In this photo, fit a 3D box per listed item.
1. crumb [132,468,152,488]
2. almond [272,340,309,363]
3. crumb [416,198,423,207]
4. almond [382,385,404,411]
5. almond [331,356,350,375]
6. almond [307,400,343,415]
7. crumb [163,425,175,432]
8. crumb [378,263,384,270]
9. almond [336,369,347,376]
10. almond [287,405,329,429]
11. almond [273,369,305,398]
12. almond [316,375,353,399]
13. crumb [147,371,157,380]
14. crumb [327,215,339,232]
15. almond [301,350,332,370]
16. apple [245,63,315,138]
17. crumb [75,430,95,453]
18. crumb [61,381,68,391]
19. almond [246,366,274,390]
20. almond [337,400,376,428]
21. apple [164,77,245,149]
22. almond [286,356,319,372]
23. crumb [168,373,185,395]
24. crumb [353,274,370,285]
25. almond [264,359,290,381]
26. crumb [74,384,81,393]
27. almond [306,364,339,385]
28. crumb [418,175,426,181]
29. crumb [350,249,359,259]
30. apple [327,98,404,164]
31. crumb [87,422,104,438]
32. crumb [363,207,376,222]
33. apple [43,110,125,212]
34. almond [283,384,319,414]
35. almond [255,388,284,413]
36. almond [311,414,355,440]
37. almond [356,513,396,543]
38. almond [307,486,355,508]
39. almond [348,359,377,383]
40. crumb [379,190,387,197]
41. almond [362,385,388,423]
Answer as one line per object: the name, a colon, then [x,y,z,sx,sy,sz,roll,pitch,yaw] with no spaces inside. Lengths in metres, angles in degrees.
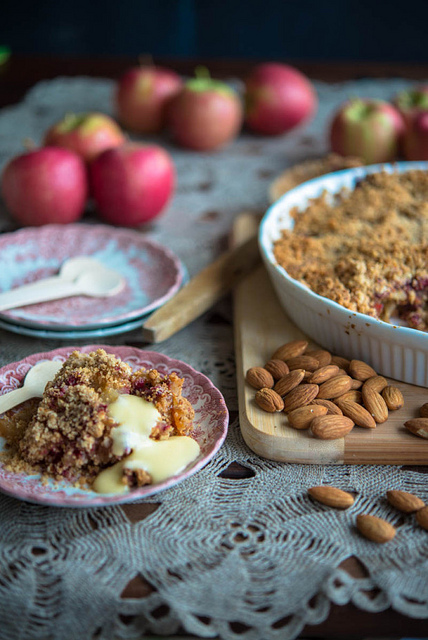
crumb: [-0.069,0.142,0.533,0.019,0.016,0.006,-2,21,-1]
almond: [0.097,0.038,0.749,0.042,0.013,0.022,-26,33,-20]
crumb: [0.308,-0.176,0.877,0.013,0.003,0.011,1,48,4]
almond: [0.204,0.088,0.675,0.021,0.016,0.028,-2,29,-3]
almond: [0.158,0.056,0.722,0.014,0.006,0.023,-1,20,-2]
almond: [0.128,0.096,0.656,0.027,0.008,0.015,27,52,23]
crumb: [-0.045,0.107,0.582,0.007,0.002,0.006,8,43,-44]
crumb: [0.230,-0.074,0.810,0.009,0.006,0.008,-24,37,-30]
almond: [0.156,0.063,0.709,0.008,0.004,0.008,-28,45,-30]
almond: [0.101,0.103,0.649,0.045,0.019,0.020,-11,25,-11]
almond: [0.088,0.072,0.683,0.041,0.011,0.022,-37,56,-4]
almond: [0.139,0.077,0.675,0.037,0.012,0.022,-28,34,-29]
crumb: [-0.064,0.057,0.615,0.007,0.002,0.008,5,40,4]
crumb: [0.174,-0.141,0.863,0.021,0.006,0.024,-1,48,5]
almond: [0.128,0.048,0.727,0.021,0.007,0.026,-18,20,-26]
apple: [0.121,-0.435,1.161,0.144,0.152,0.147,1,0,7]
crumb: [-0.120,0.113,0.553,0.006,0.020,0.019,7,65,50]
crumb: [-0.151,0.066,0.595,0.007,0.002,0.006,20,37,-4]
almond: [0.055,0.067,0.700,0.022,0.009,0.030,-11,24,-14]
almond: [0.158,0.103,0.651,0.043,0.021,0.015,31,28,5]
apple: [-0.015,-0.377,1.115,0.138,0.114,0.139,23,39,30]
almond: [0.108,0.053,0.712,0.019,0.010,0.031,16,-8,-29]
crumb: [-0.040,0.067,0.618,0.022,0.020,0.006,19,-16,-33]
crumb: [0.201,-0.056,0.790,0.018,0.004,0.016,-16,32,-27]
almond: [0.077,0.059,0.710,0.018,0.009,0.028,-23,18,-7]
crumb: [-0.134,0.067,0.579,0.006,0.002,0.006,-7,23,-17]
almond: [0.131,0.061,0.702,0.039,0.012,0.017,-25,21,-33]
crumb: [0.323,-0.221,0.916,0.012,0.008,0.010,-6,47,-1]
crumb: [0.196,-0.092,0.813,0.013,0.003,0.011,-15,42,-8]
apple: [0.295,-0.357,1.180,0.145,0.135,0.116,5,71,-5]
crumb: [-0.110,0.103,0.553,0.015,0.013,0.004,5,-1,-28]
crumb: [0.230,-0.156,0.870,0.016,0.005,0.022,7,41,8]
apple: [-0.235,-0.255,1.040,0.150,0.150,0.137,-5,23,-16]
almond: [0.098,0.086,0.665,0.042,0.013,0.027,-32,36,-9]
almond: [0.064,0.089,0.663,0.022,0.016,0.029,-41,57,-16]
almond: [0.124,0.113,0.626,0.042,0.019,0.023,-6,33,-28]
almond: [0.147,0.188,0.538,0.036,0.015,0.029,9,33,20]
almond: [0.114,0.170,0.568,0.035,0.011,0.018,10,29,8]
almond: [0.176,0.060,0.705,0.031,0.011,0.022,15,33,-35]
crumb: [0.258,-0.193,0.898,0.011,0.002,0.009,-3,42,7]
almond: [0.179,0.093,0.662,0.021,0.016,0.038,-22,58,-8]
